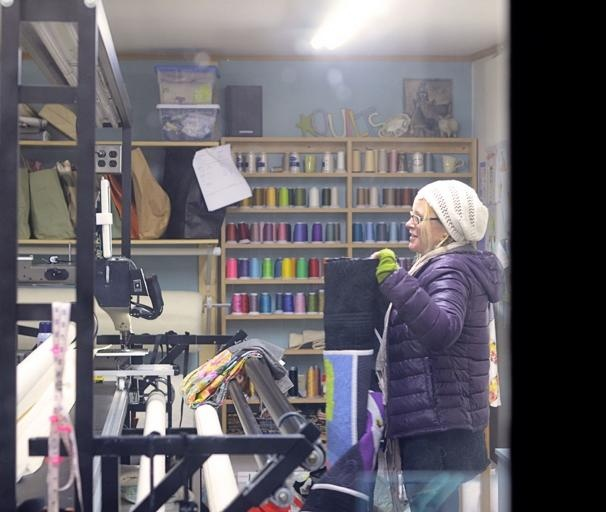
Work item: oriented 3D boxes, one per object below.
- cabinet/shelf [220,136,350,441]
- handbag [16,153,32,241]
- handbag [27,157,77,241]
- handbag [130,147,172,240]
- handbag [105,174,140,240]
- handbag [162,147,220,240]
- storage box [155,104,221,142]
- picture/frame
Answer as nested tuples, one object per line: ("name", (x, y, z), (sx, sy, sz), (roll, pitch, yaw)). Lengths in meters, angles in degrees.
("cabinet/shelf", (-0.155, 0.103, 4.709), (0.695, 1.932, 0.301), (0, 16, -12))
("handbag", (-1.473, -0.309, 4.327), (0.077, 0.409, 0.098), (1, 11, 1))
("handbag", (-1.329, -0.275, 4.331), (0.226, 0.380, 0.092), (0, 0, -21))
("handbag", (-0.824, -0.322, 4.407), (0.214, 0.624, 0.317), (-5, -14, -18))
("handbag", (-0.978, -0.269, 4.401), (0.088, 0.351, 0.251), (-6, 3, 2))
("handbag", (-0.604, -0.323, 4.472), (0.179, 0.492, 0.458), (-1, 0, -14))
("storage box", (-0.619, -0.701, 4.426), (0.248, 0.150, 0.203), (-1, 3, -7))
("picture/frame", (0.712, -0.846, 4.732), (0.312, 0.412, 0.028), (2, -9, -8))
